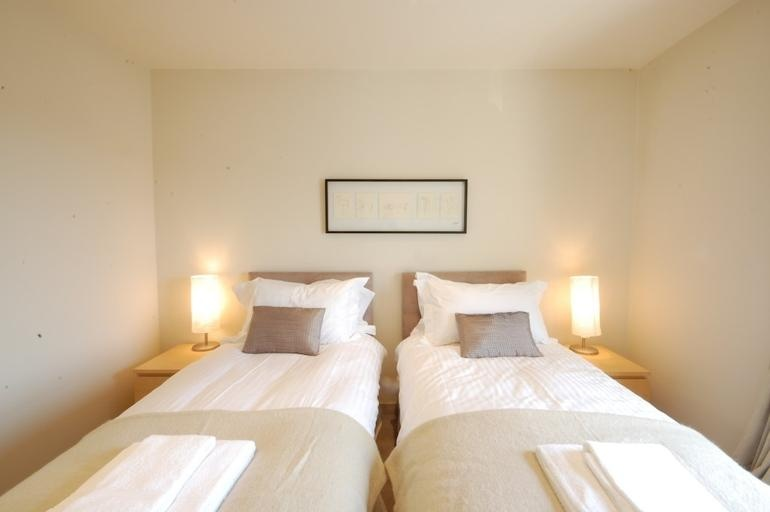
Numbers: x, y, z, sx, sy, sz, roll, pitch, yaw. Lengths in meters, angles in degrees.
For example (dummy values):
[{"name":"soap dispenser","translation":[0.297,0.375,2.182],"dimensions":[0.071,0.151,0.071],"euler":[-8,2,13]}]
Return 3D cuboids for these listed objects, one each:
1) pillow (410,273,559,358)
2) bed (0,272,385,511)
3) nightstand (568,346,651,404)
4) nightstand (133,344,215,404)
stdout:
[{"name":"pillow","translation":[0.680,0.368,3.939],"dimensions":[0.773,0.600,0.245],"euler":[-1,-18,-2]},{"name":"bed","translation":[-1.095,0.943,3.719],"dimensions":[2.153,1.558,1.633],"euler":[0,3,-1]},{"name":"nightstand","translation":[1.848,0.896,4.076],"dimensions":[0.483,0.315,0.343],"euler":[0,-3,10]},{"name":"nightstand","translation":[-1.779,0.901,4.124],"dimensions":[0.435,0.280,0.439],"euler":[0,-1,-9]}]
